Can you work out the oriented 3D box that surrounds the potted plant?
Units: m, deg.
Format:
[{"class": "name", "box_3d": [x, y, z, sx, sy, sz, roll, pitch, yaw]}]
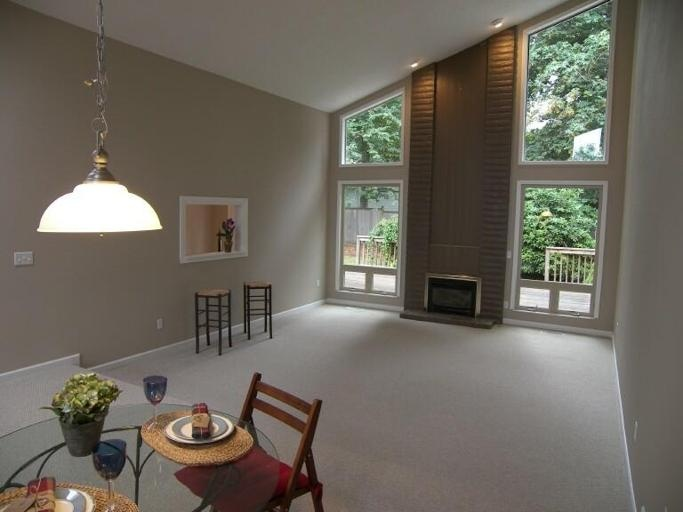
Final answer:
[{"class": "potted plant", "box_3d": [-1.311, 0.821, 2.474, 0.295, 0.440, 0.131, 2, 9, 6]}]

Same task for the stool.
[{"class": "stool", "box_3d": [-1.511, 0.851, 6.578, 0.290, 0.561, 0.859, 3, 3, 34]}]

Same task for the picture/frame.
[{"class": "picture/frame", "box_3d": [-1.901, -0.434, 7.275, 0.917, 1.059, 2.226, -2, 10, -16]}]
